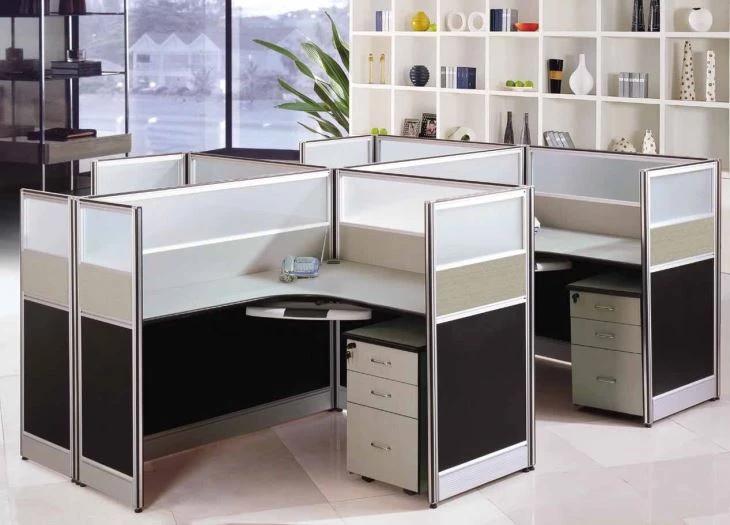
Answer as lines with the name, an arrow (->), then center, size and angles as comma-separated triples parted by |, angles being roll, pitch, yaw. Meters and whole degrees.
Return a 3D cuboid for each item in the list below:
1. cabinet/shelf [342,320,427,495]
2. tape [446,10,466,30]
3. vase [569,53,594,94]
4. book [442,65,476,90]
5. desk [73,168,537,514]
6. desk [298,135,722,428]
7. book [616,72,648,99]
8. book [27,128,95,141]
cabinet/shelf -> 0.089, 0.717, 3.547 | 0.479, 0.717, 0.127 | 9, 17, 35
tape -> 0.850, -2.274, 6.934 | 0.227, 0.231, 0.137 | 5, 15, 28
vase -> 1.820, -1.558, 6.105 | 0.222, 0.324, 0.175 | -2, 14, -4
book -> 0.865, -1.732, 6.922 | 0.233, 0.287, 0.317 | 7, 12, 33
desk -> -0.184, 0.446, 3.661 | 1.860, 1.166, 1.877 | 6, 8, 44
desk -> 0.832, 0.140, 4.089 | 0.568, 0.968, 1.713 | -8, 12, -41
book -> 2.106, -1.394, 5.794 | 0.266, 0.248, 0.145 | 2, 5, 45
book -> -3.270, -1.388, 7.987 | 0.231, 0.127, 0.727 | 9, 17, 35
